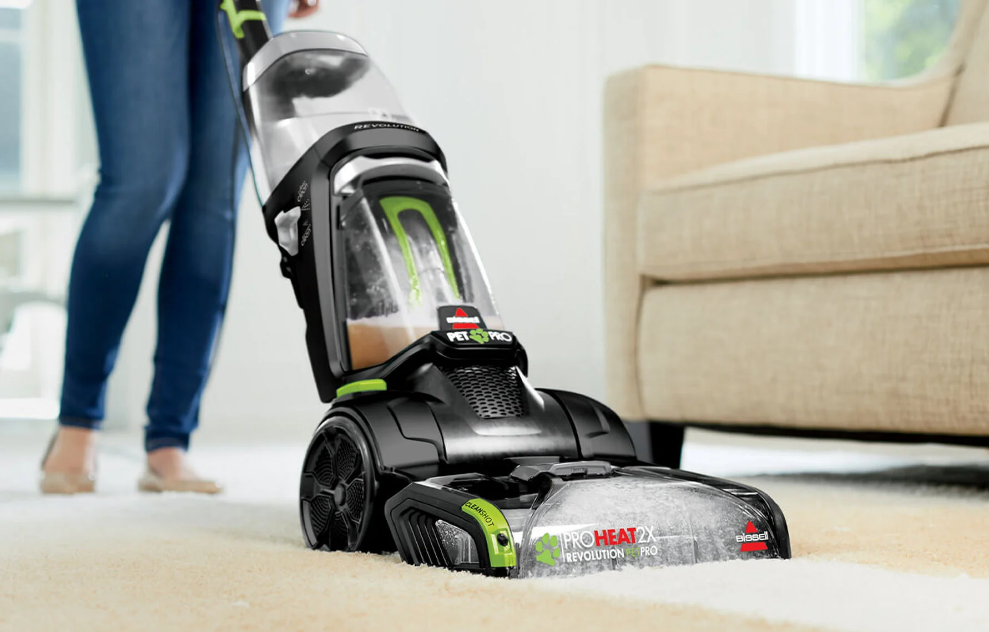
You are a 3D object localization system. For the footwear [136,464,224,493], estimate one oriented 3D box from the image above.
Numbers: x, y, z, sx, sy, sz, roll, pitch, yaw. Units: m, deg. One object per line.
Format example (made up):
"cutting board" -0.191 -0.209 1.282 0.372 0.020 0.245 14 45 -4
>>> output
"footwear" -0.625 0.333 1.741 0.184 0.070 0.060 -3 -13 15
